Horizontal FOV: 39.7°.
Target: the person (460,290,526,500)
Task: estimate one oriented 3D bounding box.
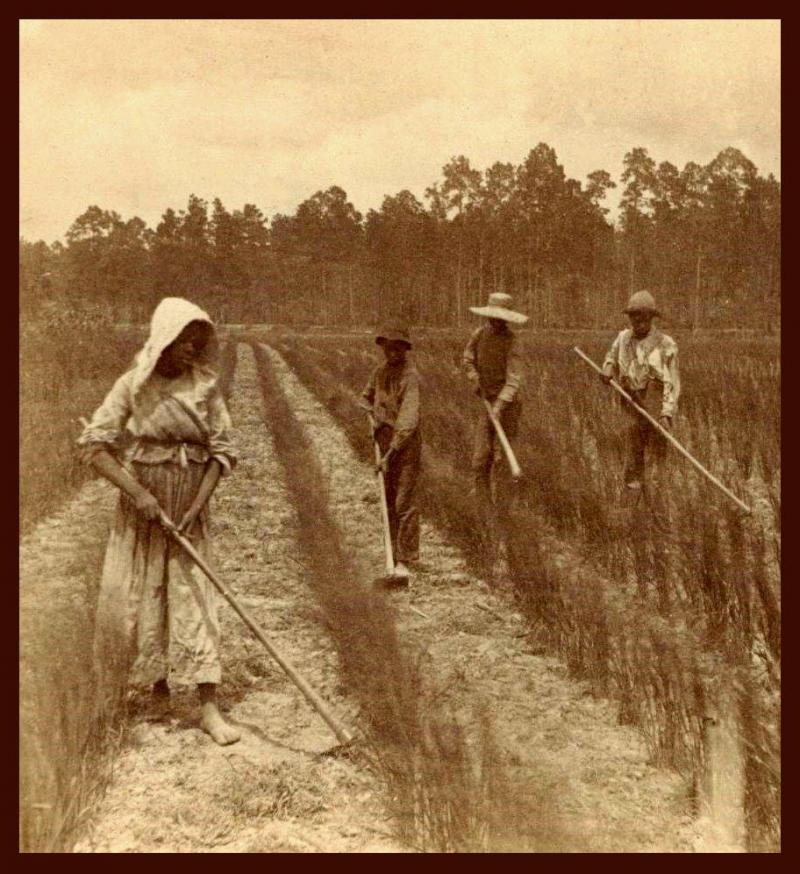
[{"bbox_3d":[0.830,-0.402,9.799,0.510,1.738,0.794,1,4,4],"label":"person"}]

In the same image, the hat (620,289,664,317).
[{"bbox_3d":[2.109,-1.178,9.689,0.292,0.222,0.343,-1,5,19],"label":"hat"}]

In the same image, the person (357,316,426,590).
[{"bbox_3d":[-0.040,0.120,8.817,0.434,2.025,0.784,0,4,-7],"label":"person"}]

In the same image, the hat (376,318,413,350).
[{"bbox_3d":[-0.040,-0.812,8.606,0.260,0.238,0.425,1,4,0],"label":"hat"}]

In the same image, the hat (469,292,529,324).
[{"bbox_3d":[0.873,-1.147,9.750,0.446,0.266,0.563,1,4,5],"label":"hat"}]

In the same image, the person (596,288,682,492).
[{"bbox_3d":[2.056,-0.416,9.437,0.501,1.632,0.980,0,4,-9],"label":"person"}]
